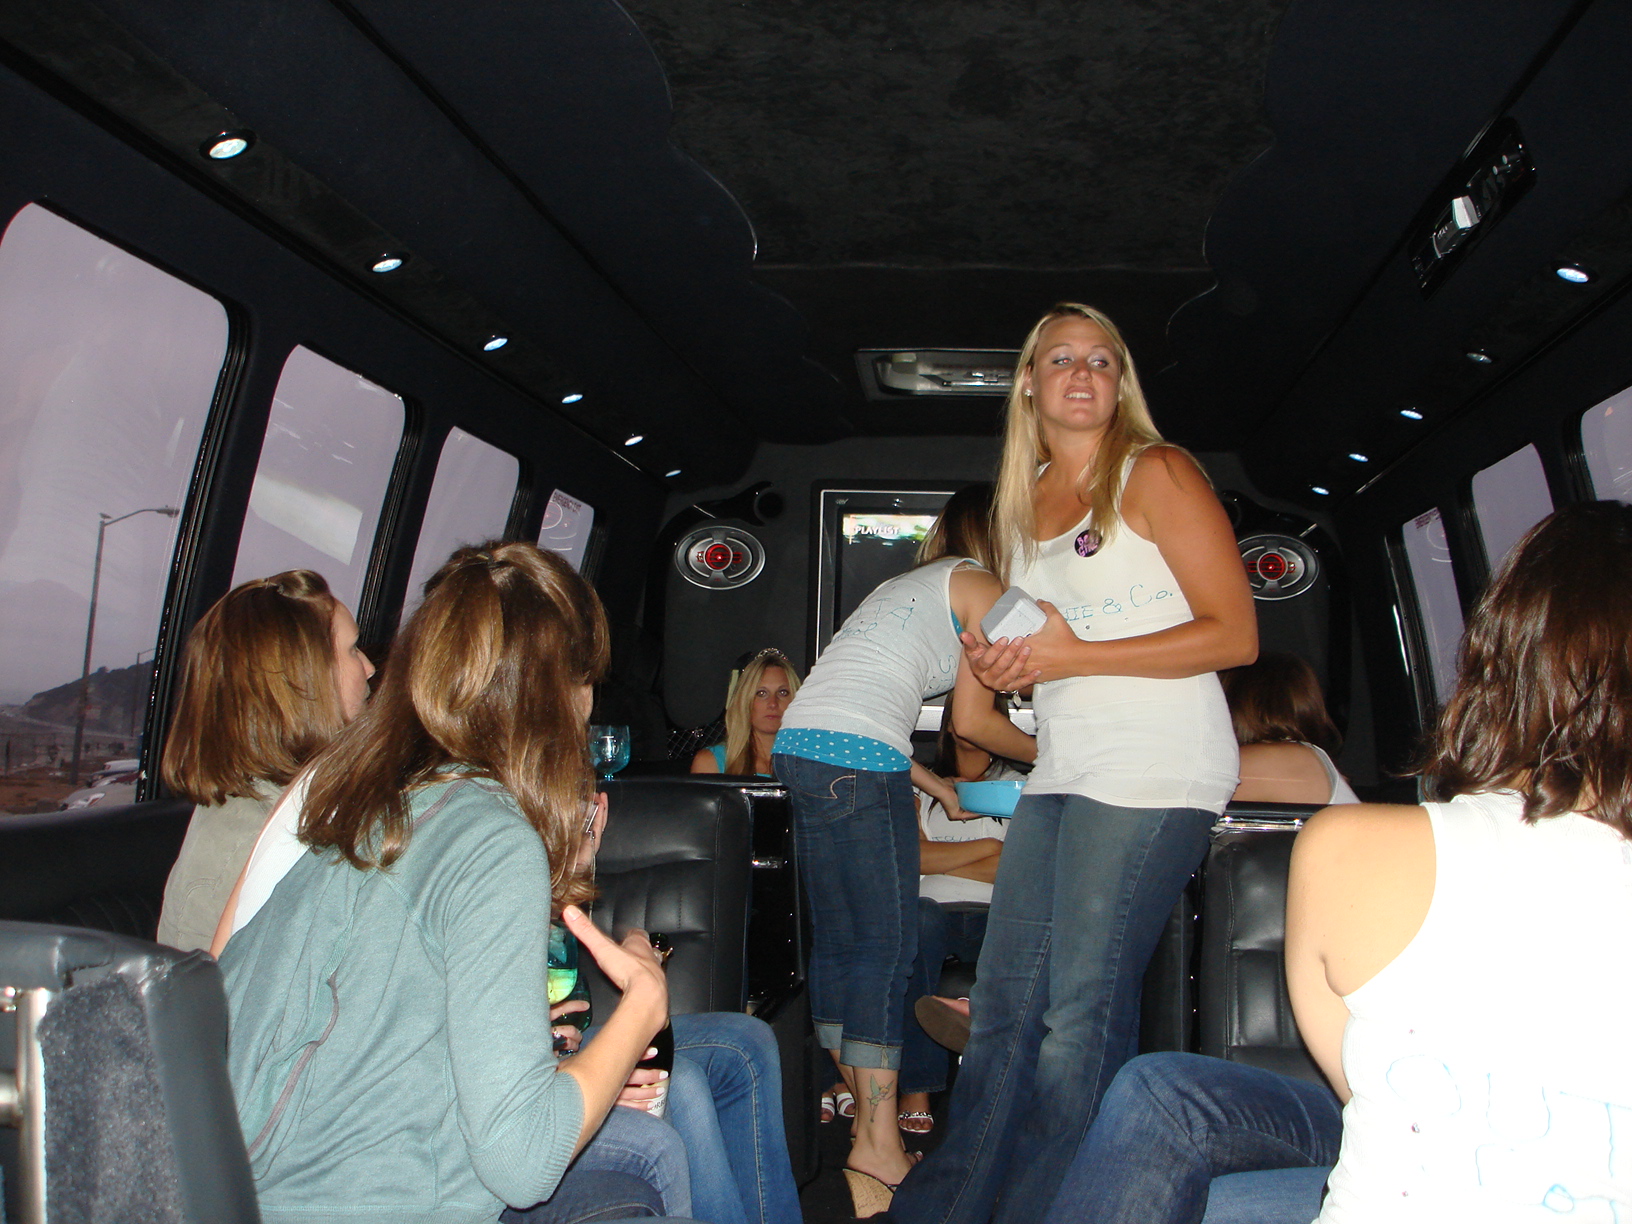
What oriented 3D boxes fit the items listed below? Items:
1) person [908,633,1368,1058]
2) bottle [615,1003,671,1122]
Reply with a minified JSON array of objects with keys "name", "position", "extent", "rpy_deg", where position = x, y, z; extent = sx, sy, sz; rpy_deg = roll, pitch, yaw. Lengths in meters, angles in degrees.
[{"name":"person","position":[1.453,0.787,3.299],"extent":[1.387,1.319,0.513],"rpy_deg":[-1,-6,20]},{"name":"bottle","position":[-0.289,0.803,1.638],"extent":[0.061,0.149,0.151],"rpy_deg":[11,-54,11]}]
